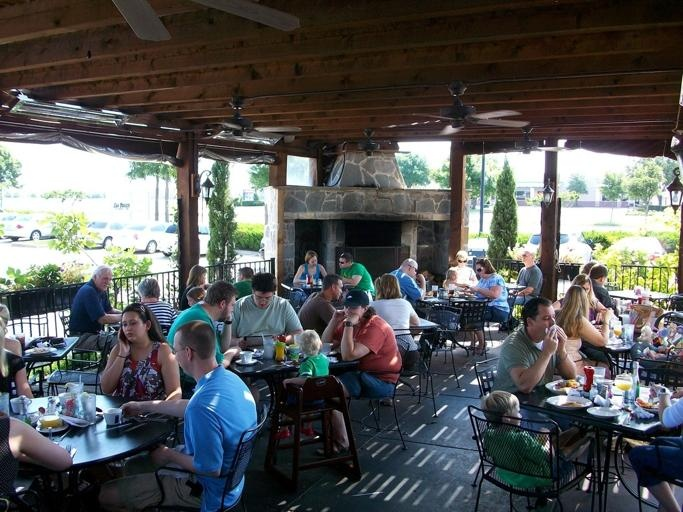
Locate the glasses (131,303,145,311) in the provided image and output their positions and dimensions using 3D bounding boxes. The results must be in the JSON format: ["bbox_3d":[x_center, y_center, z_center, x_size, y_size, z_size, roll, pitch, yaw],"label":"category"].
[{"bbox_3d":[-1.672,0.421,4.330,0.067,0.068,0.076,0,-5,-2],"label":"glasses"}]

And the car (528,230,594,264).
[{"bbox_3d":[6.431,-0.255,15.168,0.847,0.757,1.836,7,18,40],"label":"car"}]

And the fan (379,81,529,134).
[{"bbox_3d":[1.515,-1.746,6.614,1.402,0.500,1.294,0,1,-11],"label":"fan"}]

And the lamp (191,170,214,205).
[{"bbox_3d":[-2.722,-1.399,10.394,0.353,0.671,1.268,-2,3,-13],"label":"lamp"}]

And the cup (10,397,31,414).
[{"bbox_3d":[-2.326,1.078,3.824,0.125,0.091,0.126,4,-6,0],"label":"cup"}]

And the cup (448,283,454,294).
[{"bbox_3d":[1.865,0.551,8.919,0.117,0.117,0.215,-5,-33,13],"label":"cup"}]

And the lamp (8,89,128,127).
[{"bbox_3d":[-3.915,-2.046,7.558,1.710,0.568,0.168,2,-16,0],"label":"lamp"}]

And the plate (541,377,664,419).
[{"bbox_3d":[2.148,1.147,4.359,0.853,0.223,0.675,-1,3,18],"label":"plate"}]

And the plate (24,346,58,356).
[{"bbox_3d":[-3.146,1.002,5.503,0.160,0.026,0.155,-2,9,-43],"label":"plate"}]

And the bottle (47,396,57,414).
[{"bbox_3d":[-2.179,1.123,3.941,0.071,0.077,0.070,5,6,0],"label":"bottle"}]

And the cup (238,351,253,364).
[{"bbox_3d":[-0.923,0.981,5.104,0.114,0.062,0.115,0,-2,0],"label":"cup"}]

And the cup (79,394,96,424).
[{"bbox_3d":[-1.829,1.095,3.814,0.115,0.222,0.127,-4,4,-44],"label":"cup"}]

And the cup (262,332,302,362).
[{"bbox_3d":[-0.617,0.921,5.308,0.349,0.308,0.224,2,1,-7],"label":"cup"}]

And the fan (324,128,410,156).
[{"bbox_3d":[0.435,-2.565,12.170,0.931,0.527,1.344,5,10,23],"label":"fan"}]

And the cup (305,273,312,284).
[{"bbox_3d":[-0.599,0.437,9.734,0.124,0.228,0.123,0,-5,0],"label":"cup"}]

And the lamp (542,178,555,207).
[{"bbox_3d":[4.347,-1.340,10.975,0.216,0.613,0.484,0,3,29],"label":"lamp"}]

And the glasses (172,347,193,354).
[{"bbox_3d":[-1.040,0.620,3.476,0.077,0.024,0.080,4,2,4],"label":"glasses"}]

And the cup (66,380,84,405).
[{"bbox_3d":[-1.982,1.005,3.905,0.123,0.147,0.155,0,-5,6],"label":"cup"}]

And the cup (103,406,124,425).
[{"bbox_3d":[-1.640,1.157,3.770,0.112,0.083,0.113,5,5,0],"label":"cup"}]

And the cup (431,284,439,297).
[{"bbox_3d":[1.661,0.620,9.241,0.178,0.285,0.181,3,1,0],"label":"cup"}]

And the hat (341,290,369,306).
[{"bbox_3d":[0.155,0.421,5.277,0.201,0.103,0.146,1,-1,-21],"label":"hat"}]
